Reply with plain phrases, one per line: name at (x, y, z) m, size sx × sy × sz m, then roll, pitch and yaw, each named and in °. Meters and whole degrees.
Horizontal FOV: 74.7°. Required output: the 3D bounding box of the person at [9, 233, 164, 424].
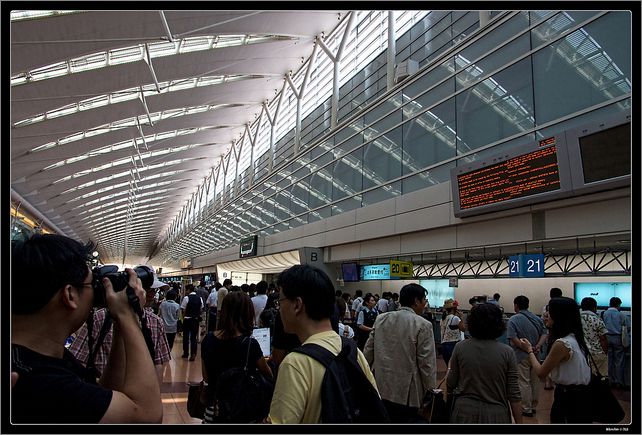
person at (-1.390, 0.658, 2.374) m, size 0.839 × 1.058 × 0.946 m, roll 2°, pitch -3°, yaw -30°

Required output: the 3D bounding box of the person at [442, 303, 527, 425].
person at (1.428, 1.291, 3.742) m, size 0.606 × 1.032 × 0.241 m, roll -2°, pitch -13°, yaw 17°

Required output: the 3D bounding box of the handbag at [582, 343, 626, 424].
handbag at (2.517, 1.539, 3.823) m, size 0.203 × 0.663 × 0.312 m, roll 1°, pitch -26°, yaw -10°

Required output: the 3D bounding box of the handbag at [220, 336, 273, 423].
handbag at (-0.754, 1.597, 4.056) m, size 0.402 × 0.684 × 0.668 m, roll -6°, pitch -13°, yaw 8°

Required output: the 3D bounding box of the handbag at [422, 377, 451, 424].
handbag at (1.135, 1.781, 4.110) m, size 0.171 × 0.347 × 0.389 m, roll 8°, pitch -9°, yaw 41°

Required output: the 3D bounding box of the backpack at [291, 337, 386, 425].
backpack at (0.067, 1.037, 2.515) m, size 0.421 × 0.558 × 0.432 m, roll -2°, pitch -4°, yaw -35°

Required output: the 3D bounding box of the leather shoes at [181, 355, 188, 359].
leather shoes at (-3.435, 3.519, 10.615) m, size 0.132 × 0.093 × 0.258 m, roll 7°, pitch -13°, yaw -22°

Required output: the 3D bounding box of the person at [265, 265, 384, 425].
person at (-0.035, 0.817, 2.679) m, size 0.796 × 0.998 × 0.784 m, roll 0°, pitch -7°, yaw -25°

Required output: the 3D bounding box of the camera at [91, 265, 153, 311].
camera at (-1.158, 0.391, 2.416) m, size 0.289 × 0.253 × 0.154 m, roll -1°, pitch -20°, yaw -38°
